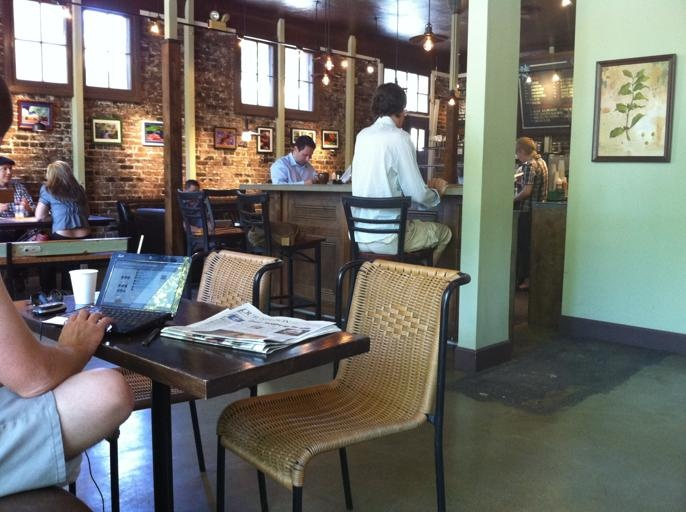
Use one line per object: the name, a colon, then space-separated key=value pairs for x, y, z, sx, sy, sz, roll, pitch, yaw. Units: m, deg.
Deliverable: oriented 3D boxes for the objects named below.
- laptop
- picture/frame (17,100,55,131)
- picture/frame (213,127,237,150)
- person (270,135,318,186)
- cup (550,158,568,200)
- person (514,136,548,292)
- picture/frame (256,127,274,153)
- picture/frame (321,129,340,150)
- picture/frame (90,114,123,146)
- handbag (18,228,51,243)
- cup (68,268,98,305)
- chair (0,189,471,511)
laptop: x=-0.708 y=0.111 z=1.924 sx=0.317 sy=0.187 sz=0.286 roll=5 pitch=6 yaw=28
picture/frame: x=-4.300 y=-1.972 z=7.855 sx=0.455 sy=0.455 sz=0.045 roll=-2 pitch=6 yaw=-36
picture/frame: x=-2.049 y=-2.038 z=9.725 sx=0.046 sy=0.352 sz=0.411 roll=0 pitch=4 yaw=41
person: x=-0.562 y=-1.111 z=6.440 sx=0.510 sy=0.537 sz=1.420 roll=0 pitch=11 yaw=-5
cup: x=3.089 y=-1.211 z=8.075 sx=0.244 sy=0.469 sz=0.497 roll=5 pitch=11 yaw=20
person: x=2.152 y=-0.478 z=6.546 sx=0.360 sy=1.773 sz=0.702 roll=4 pitch=11 yaw=16
picture/frame: x=-1.421 y=-2.127 z=10.227 sx=0.051 sy=0.524 sz=0.448 roll=6 pitch=10 yaw=43
picture/frame: x=-0.256 y=-2.320 z=11.158 sx=0.035 sy=0.396 sz=0.463 roll=5 pitch=4 yaw=44
picture/frame: x=-3.585 y=-1.916 z=8.498 sx=0.499 sy=0.462 sz=0.040 roll=-4 pitch=4 yaw=-40
handbag: x=-3.041 y=-0.212 z=5.553 sx=0.241 sy=0.113 sz=0.319 roll=2 pitch=1 yaw=35
cup: x=-0.952 y=0.110 z=2.106 sx=0.123 sy=0.129 sz=0.118 roll=2 pitch=5 yaw=0
chair: x=-0.261 y=0.297 z=1.747 sx=1.021 sy=0.644 sz=1.043 roll=5 pitch=10 yaw=40
